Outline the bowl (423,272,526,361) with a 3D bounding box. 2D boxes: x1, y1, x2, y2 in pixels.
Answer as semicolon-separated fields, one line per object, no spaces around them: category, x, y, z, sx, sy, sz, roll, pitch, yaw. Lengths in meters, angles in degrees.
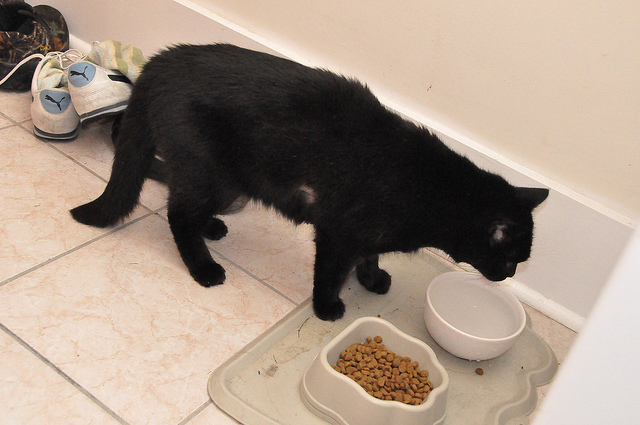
bowl;0.595;0.396;2.353;0.369;0.159;0.348;3;43;-3
